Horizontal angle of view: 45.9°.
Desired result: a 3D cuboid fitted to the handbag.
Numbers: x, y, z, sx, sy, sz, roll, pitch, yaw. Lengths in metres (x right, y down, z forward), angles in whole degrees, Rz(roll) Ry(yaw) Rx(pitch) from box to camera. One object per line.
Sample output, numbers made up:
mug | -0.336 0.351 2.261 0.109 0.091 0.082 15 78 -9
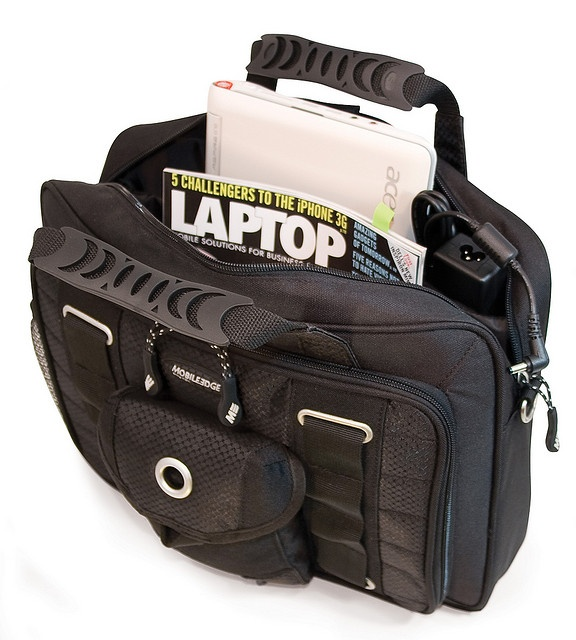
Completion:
handbag | -0.007 0.051 1.010 0.818 0.658 0.455 19 36 26
